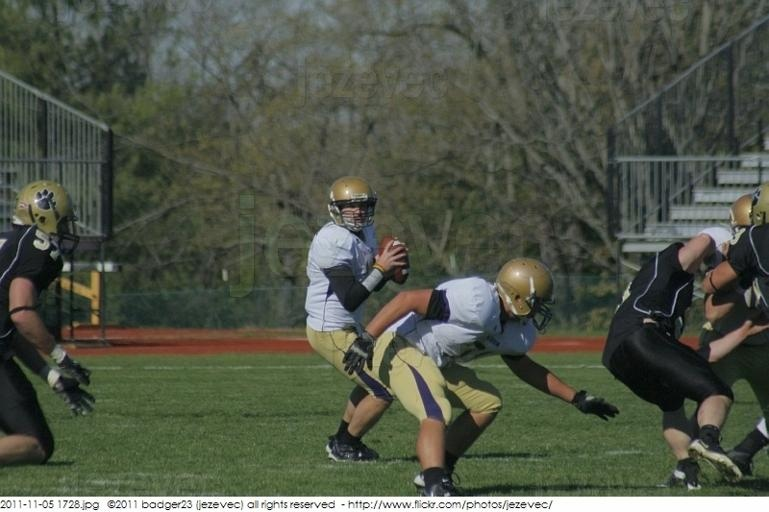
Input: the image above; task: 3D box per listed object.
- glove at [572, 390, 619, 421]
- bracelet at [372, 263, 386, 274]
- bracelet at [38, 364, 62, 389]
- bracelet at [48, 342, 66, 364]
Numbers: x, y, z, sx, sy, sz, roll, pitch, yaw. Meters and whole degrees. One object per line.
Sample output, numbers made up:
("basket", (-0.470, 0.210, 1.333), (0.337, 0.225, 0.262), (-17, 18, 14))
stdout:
("glove", (2.855, 2.075, 19.038), (0.539, 0.227, 0.444), (23, -39, -21))
("bracelet", (-0.080, 0.166, 19.331), (0.146, 0.072, 0.110), (33, -2, -28))
("bracelet", (-4.520, 1.697, 19.150), (0.277, 0.284, 0.349), (29, -4, -29))
("bracelet", (-4.526, 1.352, 19.148), (0.228, 0.282, 0.308), (-2, -5, -16))
